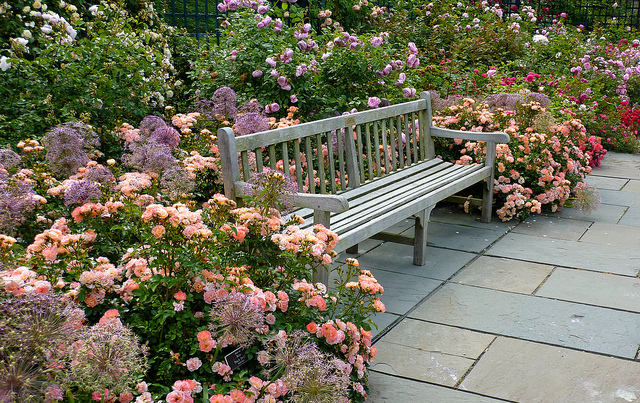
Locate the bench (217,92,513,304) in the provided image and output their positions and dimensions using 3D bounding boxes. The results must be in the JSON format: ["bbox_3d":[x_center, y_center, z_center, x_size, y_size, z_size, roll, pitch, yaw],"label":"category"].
[{"bbox_3d":[0.408,-0.029,4.341,0.689,0.903,2.035,15,25,36],"label":"bench"}]
